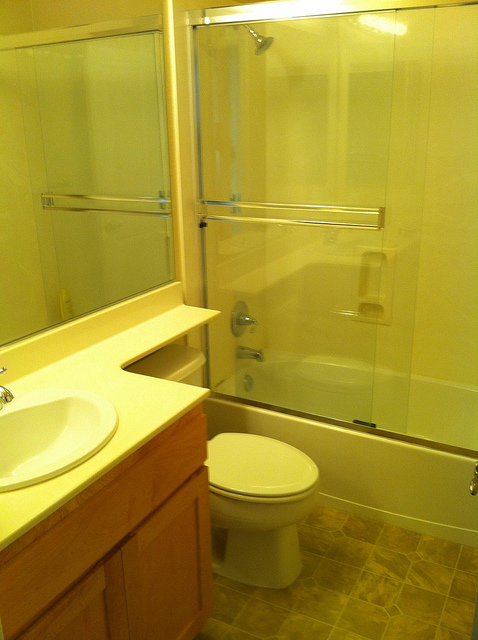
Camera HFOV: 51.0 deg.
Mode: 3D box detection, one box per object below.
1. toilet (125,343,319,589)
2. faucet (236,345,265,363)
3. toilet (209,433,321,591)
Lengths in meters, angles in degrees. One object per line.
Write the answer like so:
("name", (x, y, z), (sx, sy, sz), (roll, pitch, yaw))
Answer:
("toilet", (-0.045, 0.503, 1.709), (0.629, 0.701, 0.348), (6, 19, 33))
("faucet", (0.044, 0.142, 2.130), (0.144, 0.084, 0.050), (-1, 6, 25))
("toilet", (0.070, 0.645, 1.668), (0.419, 0.335, 0.382), (6, 14, 26))
